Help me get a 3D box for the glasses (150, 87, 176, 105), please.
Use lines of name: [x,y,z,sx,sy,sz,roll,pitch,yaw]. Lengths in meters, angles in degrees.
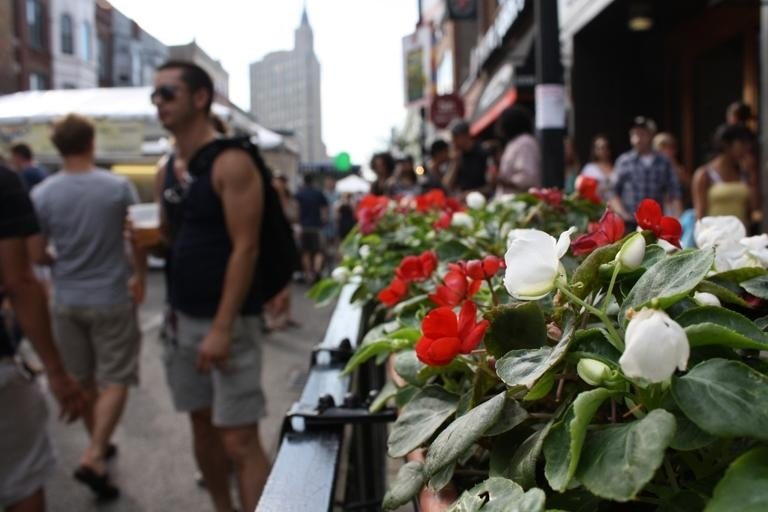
glasses: [-0.787,-0.580,2.135,0.061,0.045,0.060,-16,33,-32]
